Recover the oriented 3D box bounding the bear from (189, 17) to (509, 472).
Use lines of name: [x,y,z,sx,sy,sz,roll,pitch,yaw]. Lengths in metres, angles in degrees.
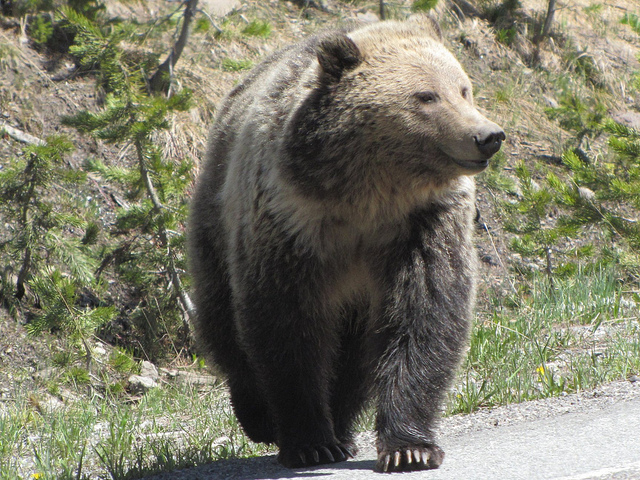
bear: [0.202,0.050,9.721,2.547,3.868,1.272,6,8,8]
